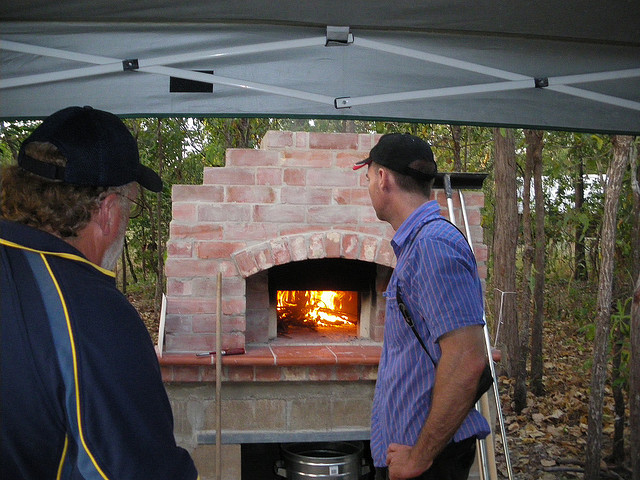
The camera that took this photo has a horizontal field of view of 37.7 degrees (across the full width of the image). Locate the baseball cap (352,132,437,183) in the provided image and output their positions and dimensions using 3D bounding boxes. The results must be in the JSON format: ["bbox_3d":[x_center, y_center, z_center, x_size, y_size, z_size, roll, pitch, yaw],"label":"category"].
[{"bbox_3d":[0.402,-0.486,5.178,0.452,0.269,0.332,12,8,32],"label":"baseball cap"}]

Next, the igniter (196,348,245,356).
[{"bbox_3d":[-0.683,0.768,6.541,0.338,0.053,0.094,4,-7,-33],"label":"igniter"}]

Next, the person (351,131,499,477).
[{"bbox_3d":[0.563,0.308,4.910,0.655,1.815,0.411,-1,-5,12],"label":"person"}]

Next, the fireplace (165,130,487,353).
[{"bbox_3d":[0.020,0.024,7.109,2.306,1.802,1.210,1,9,-7],"label":"fireplace"}]

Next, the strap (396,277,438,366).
[{"bbox_3d":[0.541,0.414,4.824,0.098,0.381,0.200,-21,7,6],"label":"strap"}]
